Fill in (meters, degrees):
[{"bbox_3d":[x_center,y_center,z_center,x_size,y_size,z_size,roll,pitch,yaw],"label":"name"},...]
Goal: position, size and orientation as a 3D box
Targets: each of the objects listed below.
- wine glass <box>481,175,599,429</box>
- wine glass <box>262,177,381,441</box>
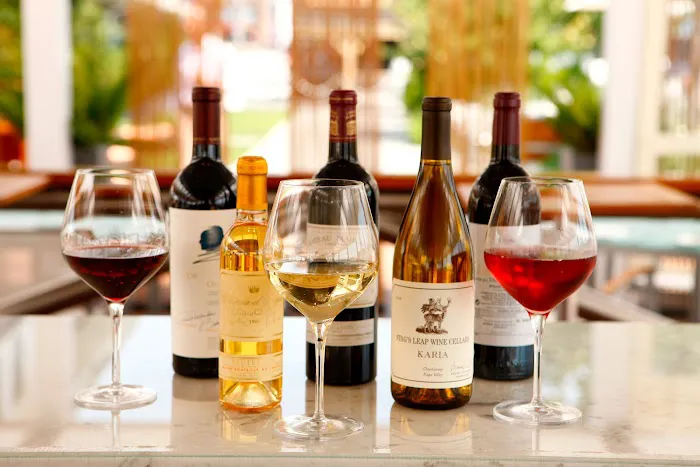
[{"bbox_3d":[0.306,0.108,1.251,0.154,0.395,0.124,-10,13,-40],"label":"wine glass"},{"bbox_3d":[-0.043,0.116,1.203,0.142,0.399,0.148,5,12,37],"label":"wine glass"}]
